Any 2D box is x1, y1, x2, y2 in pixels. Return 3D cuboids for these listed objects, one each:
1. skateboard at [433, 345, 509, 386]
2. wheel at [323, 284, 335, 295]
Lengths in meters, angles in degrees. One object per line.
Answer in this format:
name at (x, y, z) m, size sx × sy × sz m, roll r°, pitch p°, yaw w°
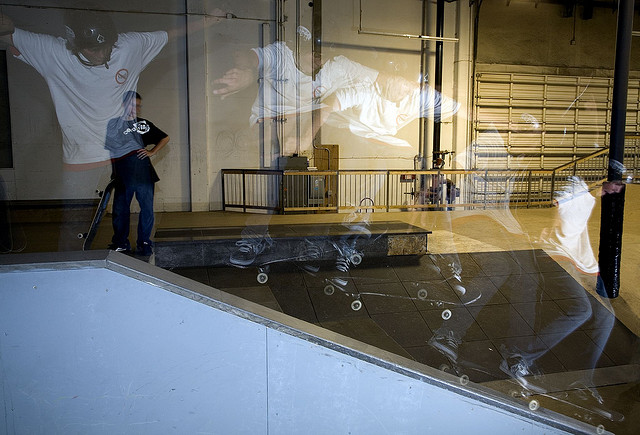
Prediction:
skateboard at (0.825, 0.858, 2.756) m, size 0.452 × 0.207 × 0.130 m, roll 4°, pitch -37°, yaw 42°
wheel at (0.045, 0.441, 3.014) m, size 0.074 × 0.065 × 0.090 m, roll 2°, pitch -5°, yaw -23°
